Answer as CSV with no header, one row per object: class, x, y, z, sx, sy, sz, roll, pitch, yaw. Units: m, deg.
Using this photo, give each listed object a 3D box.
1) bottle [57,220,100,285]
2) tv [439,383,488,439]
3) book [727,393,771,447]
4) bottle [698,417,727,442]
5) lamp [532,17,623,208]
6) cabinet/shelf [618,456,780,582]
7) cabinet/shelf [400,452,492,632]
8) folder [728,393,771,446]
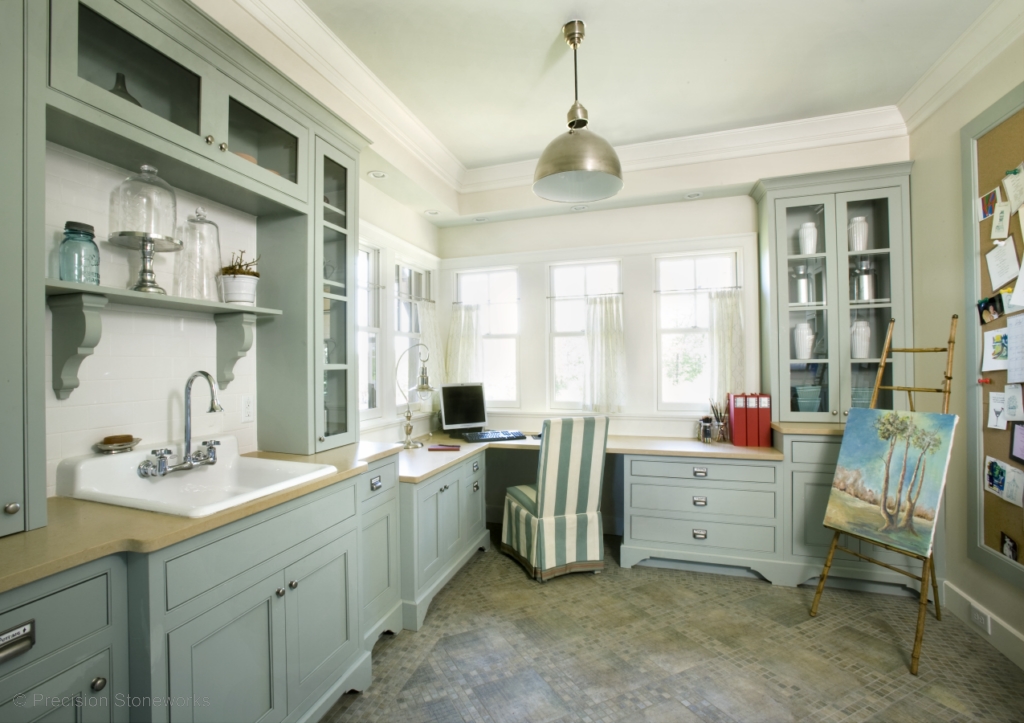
bottle,-1.966,-0.475,3.276,0.164,0.282,0.259,-2,0,-33
tv,-0.386,0.402,5.657,0.383,0.376,0.039,6,-18,-33
book,1.716,0.439,5.352,0.318,0.462,0.344,0,-1,12
bottle,1.473,0.505,5.292,0.204,0.202,0.128,-1,-2,12
lamp,0.342,-1.395,4.056,0.507,0.991,0.531,-2,0,-24
cabinet/shelf,1.331,1.091,4.965,0.802,0.616,0.318,0,-4,14
cabinet/shelf,-0.441,1.170,4.585,0.325,0.617,0.992,-3,-1,10
folder,1.686,0.416,5.135,0.319,0.463,0.331,0,-1,10
